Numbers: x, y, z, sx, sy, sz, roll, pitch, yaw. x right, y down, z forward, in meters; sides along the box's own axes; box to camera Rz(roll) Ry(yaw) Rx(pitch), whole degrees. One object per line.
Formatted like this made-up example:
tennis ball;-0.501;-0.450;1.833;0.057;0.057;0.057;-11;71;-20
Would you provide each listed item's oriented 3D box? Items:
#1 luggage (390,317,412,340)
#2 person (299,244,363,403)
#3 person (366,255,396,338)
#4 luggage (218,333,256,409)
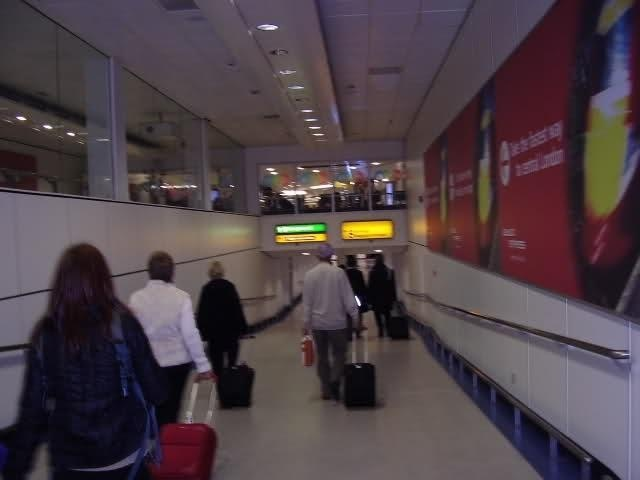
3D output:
luggage;1.674;1.843;9.794;0.374;0.545;0.530;-1;-3;8
person;0.135;1.039;5.935;0.686;1.975;0.365;-2;-2;-3
person;1.306;1.170;9.990;0.580;1.733;0.589;-2;-2;9
luggage;-1.061;1.682;5.831;0.429;0.766;0.377;-2;-2;-12
